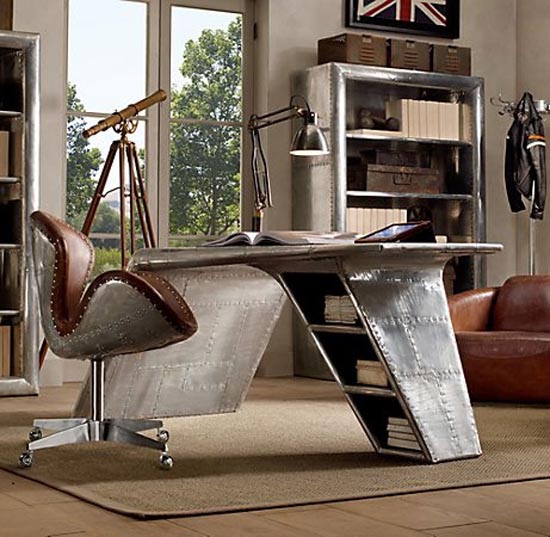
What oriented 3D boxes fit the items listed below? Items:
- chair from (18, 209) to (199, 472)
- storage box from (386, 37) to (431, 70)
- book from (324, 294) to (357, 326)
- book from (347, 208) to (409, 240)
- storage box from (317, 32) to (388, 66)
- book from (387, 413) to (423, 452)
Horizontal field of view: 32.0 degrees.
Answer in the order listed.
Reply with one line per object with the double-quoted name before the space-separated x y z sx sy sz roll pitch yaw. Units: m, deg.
"chair" -0.561 0.237 3.420 0.751 0.841 0.721 2 -2 -22
"storage box" 0.883 -1.396 6.322 0.243 0.136 0.239 -4 9 -35
"book" 0.248 0.153 3.531 0.131 0.056 0.162 1 1 1
"book" 0.667 -0.312 6.275 0.142 0.169 0.597 0 0 44
"storage box" 0.476 -1.401 6.205 0.357 0.172 0.270 -2 9 -31
"book" 0.464 0.592 3.460 0.173 0.108 0.099 3 6 25
